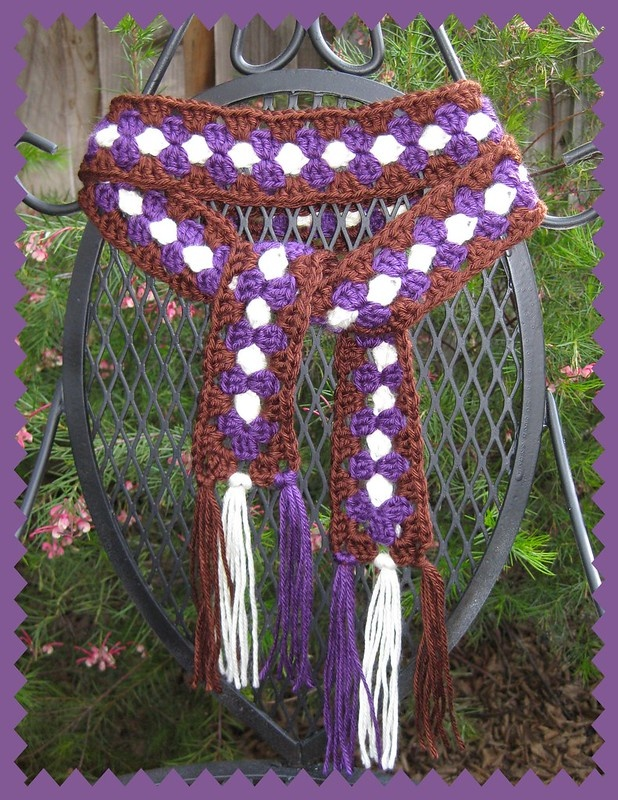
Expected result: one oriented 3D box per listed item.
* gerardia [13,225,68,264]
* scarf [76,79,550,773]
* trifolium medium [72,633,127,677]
[{"bbox_3d":[-0.405,-0.237,1.501,0.062,0.049,0.090,-5,13,-7],"label":"gerardia"},{"bbox_3d":[-0.032,0.019,1.211,0.510,0.768,0.365,8,21,25],"label":"scarf"},{"bbox_3d":[-0.340,0.419,1.625,0.085,0.037,0.076,-4,47,-13],"label":"trifolium medium"}]
